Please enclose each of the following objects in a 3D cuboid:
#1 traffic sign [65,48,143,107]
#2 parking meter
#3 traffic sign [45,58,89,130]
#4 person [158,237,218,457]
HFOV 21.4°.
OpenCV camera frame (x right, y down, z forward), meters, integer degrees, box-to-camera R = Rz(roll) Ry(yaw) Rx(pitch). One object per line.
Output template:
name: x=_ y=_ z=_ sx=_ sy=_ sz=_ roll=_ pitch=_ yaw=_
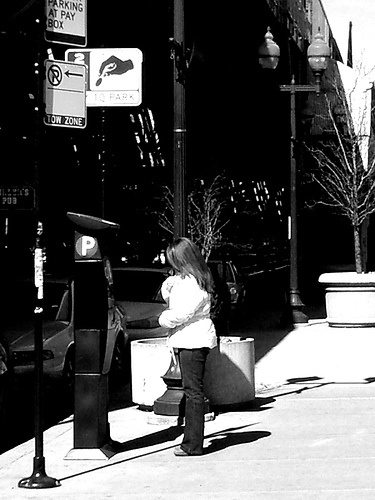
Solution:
traffic sign: x=-0.736 y=-1.481 z=8.532 sx=0.673 sy=0.681 sz=0.080 roll=0 pitch=-8 yaw=-9
parking meter: x=-0.717 y=0.620 z=7.129 sx=0.357 sy=1.772 sz=0.328 roll=-2 pitch=2 yaw=-2
traffic sign: x=-0.871 y=-1.102 z=6.916 sx=0.279 sy=0.442 sz=0.775 roll=-2 pitch=3 yaw=0
person: x=-0.003 y=0.703 z=7.186 sx=0.402 sy=1.565 sz=0.379 roll=-2 pitch=2 yaw=3
